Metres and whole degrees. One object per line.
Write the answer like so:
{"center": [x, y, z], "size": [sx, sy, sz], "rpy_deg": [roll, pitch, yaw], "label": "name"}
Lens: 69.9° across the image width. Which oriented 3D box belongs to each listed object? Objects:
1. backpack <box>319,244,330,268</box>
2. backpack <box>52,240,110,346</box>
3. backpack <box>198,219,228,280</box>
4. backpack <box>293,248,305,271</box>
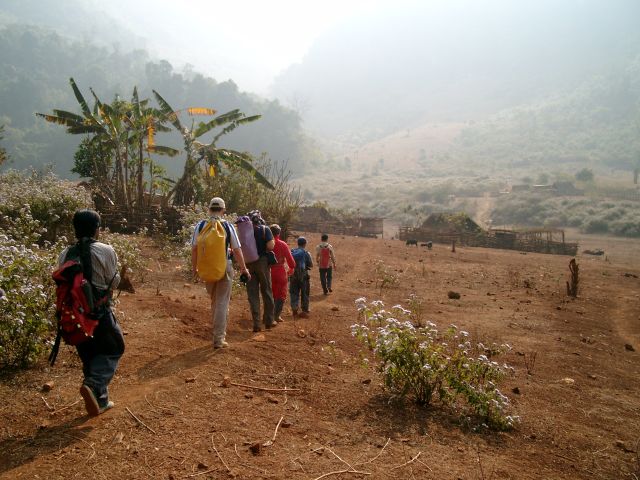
{"center": [0.110, 0.474, 13.365], "size": [0.396, 0.733, 0.368], "rpy_deg": [5, 7, -4], "label": "backpack"}
{"center": [-2.968, 0.636, 5.630], "size": [0.549, 1.201, 0.441], "rpy_deg": [5, 7, -5], "label": "backpack"}
{"center": [-1.765, 0.157, 7.414], "size": [0.470, 0.960, 0.326], "rpy_deg": [5, 7, -6], "label": "backpack"}
{"center": [-0.523, 0.484, 10.949], "size": [0.433, 0.592, 0.322], "rpy_deg": [-1, -10, 1], "label": "backpack"}
